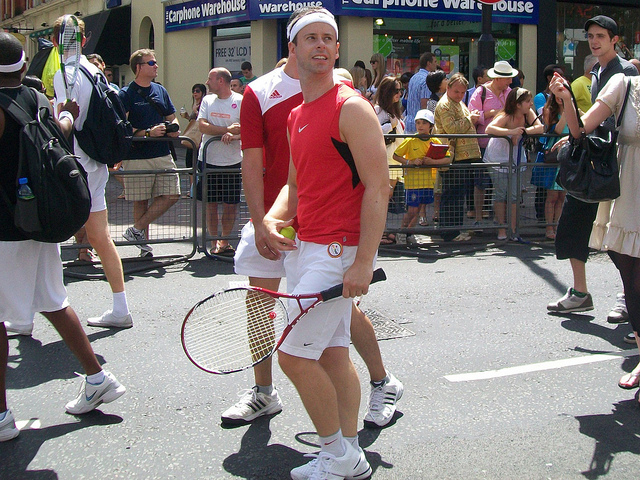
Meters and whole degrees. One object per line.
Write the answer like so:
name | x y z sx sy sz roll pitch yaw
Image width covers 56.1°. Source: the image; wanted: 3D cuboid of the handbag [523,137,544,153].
handbag | 3.261 -1.466 9.167 0.321 0.268 0.452 9 17 24

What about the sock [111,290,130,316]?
sock | -1.895 0.596 5.655 0.154 0.239 0.098 -4 12 -18

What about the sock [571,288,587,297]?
sock | 2.584 0.529 5.988 0.136 0.072 0.031 4 12 17

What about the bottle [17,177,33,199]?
bottle | -1.851 -0.324 3.763 0.083 0.128 0.065 -6 13 -27

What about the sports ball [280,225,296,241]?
sports ball | -0.183 -0.047 3.570 0.091 0.085 0.080 0 -32 -30

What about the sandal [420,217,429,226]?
sandal | 1.687 -0.297 9.642 0.109 0.089 0.311 -3 4 6

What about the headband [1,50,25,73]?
headband | -1.975 -1.156 3.909 0.091 0.131 0.245 0 13 0

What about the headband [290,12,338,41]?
headband | -0.037 -1.213 3.409 0.272 0.146 0.163 0 12 -1

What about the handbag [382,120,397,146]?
handbag | 1.020 -1.579 8.814 0.199 0.343 0.629 1 13 6

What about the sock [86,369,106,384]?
sock | -1.532 0.945 4.109 0.070 0.076 0.090 -11 -27 -47

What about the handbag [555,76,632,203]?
handbag | 2.126 -0.784 4.680 0.490 0.935 0.321 6 12 29

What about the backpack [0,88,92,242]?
backpack | -1.773 -0.473 3.909 0.468 0.934 0.354 -7 13 -30

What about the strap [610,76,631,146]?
strap | 2.308 -0.964 4.527 0.122 0.460 0.230 10 3 38

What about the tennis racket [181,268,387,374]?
tennis racket | -0.246 0.433 3.412 1.274 0.565 0.160 -19 -10 1

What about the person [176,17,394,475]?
person | -0.072 0.090 3.413 0.803 2.622 0.984 9 14 41

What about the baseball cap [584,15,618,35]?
baseball cap | 2.453 -1.880 5.235 0.307 0.171 0.237 -9 16 -33

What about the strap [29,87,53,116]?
strap | -1.823 -0.910 3.989 0.126 0.191 0.192 -1 15 -11

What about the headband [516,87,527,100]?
headband | 3.006 -2.179 8.936 0.120 0.144 0.201 7 15 30

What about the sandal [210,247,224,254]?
sandal | -1.461 0.143 8.477 0.228 0.071 0.119 3 13 13

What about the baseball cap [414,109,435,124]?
baseball cap | 1.536 -1.788 8.739 0.285 0.190 0.190 -10 15 -36

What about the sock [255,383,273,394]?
sock | -0.385 1.031 4.144 0.128 0.064 0.050 2 2 -11
